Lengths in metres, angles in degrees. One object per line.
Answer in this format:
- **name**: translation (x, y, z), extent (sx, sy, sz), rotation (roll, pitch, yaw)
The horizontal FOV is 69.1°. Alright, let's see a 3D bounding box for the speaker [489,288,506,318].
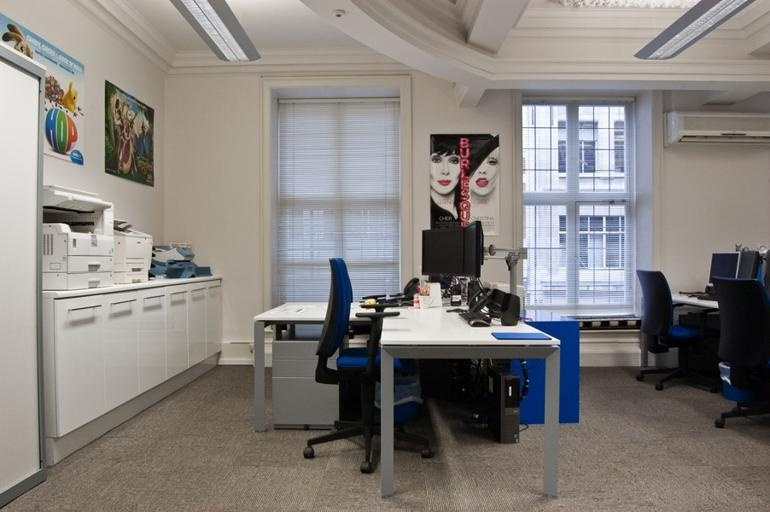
- **speaker**: translation (0.967, 0.416, 4.890), extent (0.063, 0.200, 0.148), rotation (21, -16, -29)

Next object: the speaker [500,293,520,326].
- **speaker**: translation (1.054, 0.496, 4.757), extent (0.172, 0.298, 0.176), rotation (7, -34, 9)

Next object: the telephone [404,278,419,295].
- **telephone**: translation (0.275, 0.363, 6.134), extent (0.148, 0.251, 0.266), rotation (11, -6, 2)

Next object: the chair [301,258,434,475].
- **chair**: translation (-0.159, 0.930, 5.762), extent (1.571, 2.294, 1.647), rotation (0, -5, 5)

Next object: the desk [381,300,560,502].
- **desk**: translation (0.661, 1.387, 4.821), extent (1.198, 1.028, 2.155), rotation (-1, 0, 1)

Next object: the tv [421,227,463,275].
- **tv**: translation (0.577, -0.021, 5.586), extent (0.024, 0.450, 0.652), rotation (1, 0, -33)

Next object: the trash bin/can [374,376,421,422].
- **trash bin/can**: translation (0.109, 1.266, 5.047), extent (0.450, 0.348, 0.396), rotation (-1, -8, 0)

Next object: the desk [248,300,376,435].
- **desk**: translation (-0.702, 1.065, 5.503), extent (1.168, 0.867, 1.107), rotation (0, 0, -3)
